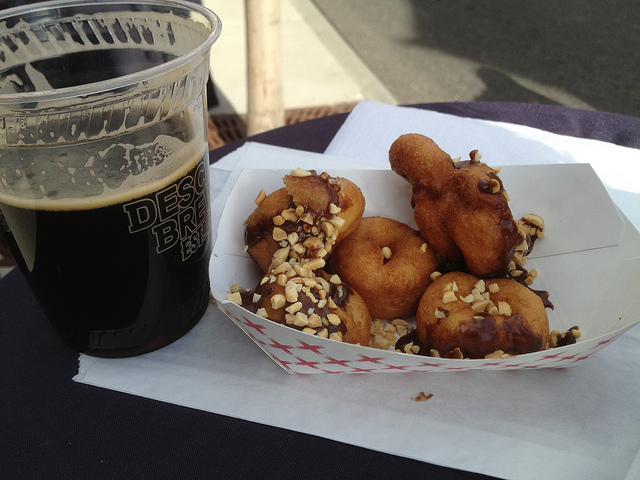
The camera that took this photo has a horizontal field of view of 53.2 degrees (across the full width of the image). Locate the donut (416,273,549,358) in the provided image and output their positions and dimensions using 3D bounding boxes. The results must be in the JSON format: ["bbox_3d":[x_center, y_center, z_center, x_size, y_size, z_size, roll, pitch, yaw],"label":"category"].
[{"bbox_3d":[0.244,0.111,0.967,0.147,0.064,0.124,2,37,6],"label":"donut"}]

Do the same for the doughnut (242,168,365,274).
[{"bbox_3d":[-0.021,-0.015,1.069,0.181,0.076,0.155,-30,74,0],"label":"doughnut"}]

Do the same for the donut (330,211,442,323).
[{"bbox_3d":[0.111,0.040,1.044,0.166,0.085,0.171,13,54,-2],"label":"donut"}]

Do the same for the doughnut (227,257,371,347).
[{"bbox_3d":[-0.022,0.085,0.951,0.169,0.064,0.133,13,44,-3],"label":"doughnut"}]
